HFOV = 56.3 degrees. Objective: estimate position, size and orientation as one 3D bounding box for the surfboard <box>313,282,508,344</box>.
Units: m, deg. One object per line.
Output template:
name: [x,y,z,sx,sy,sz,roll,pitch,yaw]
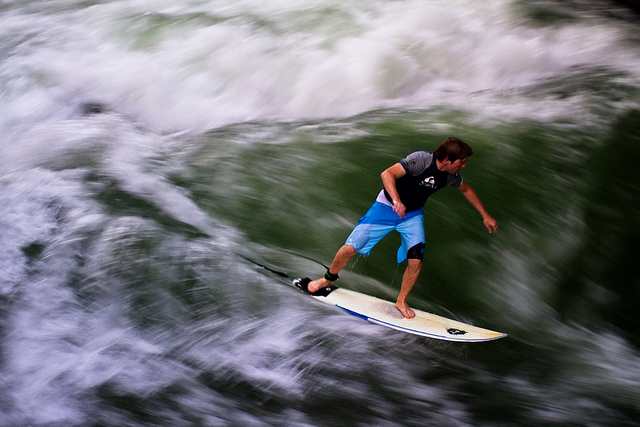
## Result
surfboard: [1.129,1.375,8.113,3.072,0.217,0.414,10,37,-1]
